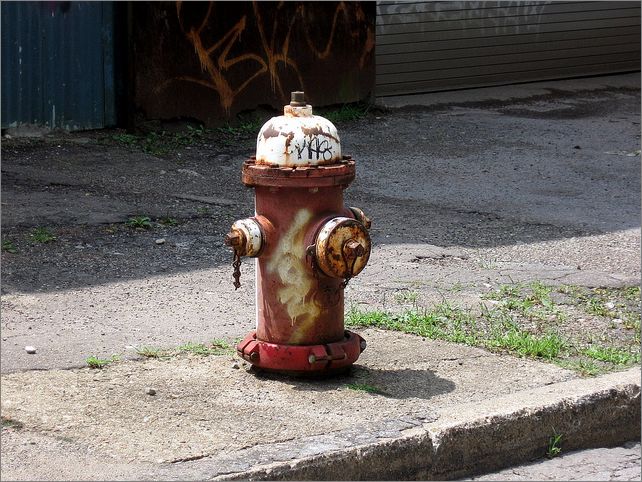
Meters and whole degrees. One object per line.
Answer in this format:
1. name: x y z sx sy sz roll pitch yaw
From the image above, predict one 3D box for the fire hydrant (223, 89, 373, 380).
1. fire hydrant: -0.145 -0.039 6.384 0.916 1.844 0.566 1 17 1
